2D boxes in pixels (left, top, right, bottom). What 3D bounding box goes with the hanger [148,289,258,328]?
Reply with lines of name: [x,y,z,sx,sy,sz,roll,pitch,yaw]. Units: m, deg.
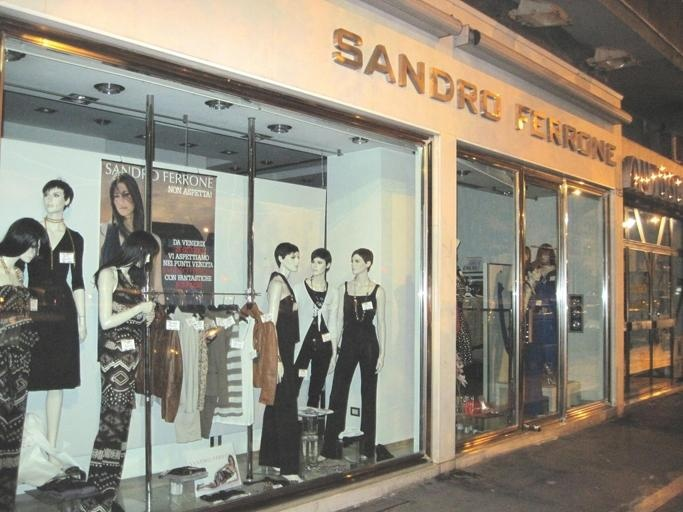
hanger: [-1.052,0.409,5.053,0.749,0.319,0.232,5,-8,-24]

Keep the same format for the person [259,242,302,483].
person: [-0.464,0.862,5.418,0.377,1.910,0.307,4,4,-17]

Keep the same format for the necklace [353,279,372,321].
necklace: [0.201,0.460,5.943,0.171,0.257,0.243,3,-12,-7]

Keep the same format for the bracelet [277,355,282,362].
bracelet: [-0.507,0.841,5.436,0.015,0.056,0.022,-3,-5,-14]

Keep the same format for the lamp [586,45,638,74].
lamp: [3.540,-2.596,8.770,0.607,0.259,0.466,3,2,37]

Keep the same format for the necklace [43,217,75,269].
necklace: [-1.923,-0.097,4.582,0.166,0.314,0.176,4,-1,-3]

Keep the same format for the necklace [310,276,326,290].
necklace: [-0.214,0.228,5.651,0.083,0.140,0.062,-5,16,0]
